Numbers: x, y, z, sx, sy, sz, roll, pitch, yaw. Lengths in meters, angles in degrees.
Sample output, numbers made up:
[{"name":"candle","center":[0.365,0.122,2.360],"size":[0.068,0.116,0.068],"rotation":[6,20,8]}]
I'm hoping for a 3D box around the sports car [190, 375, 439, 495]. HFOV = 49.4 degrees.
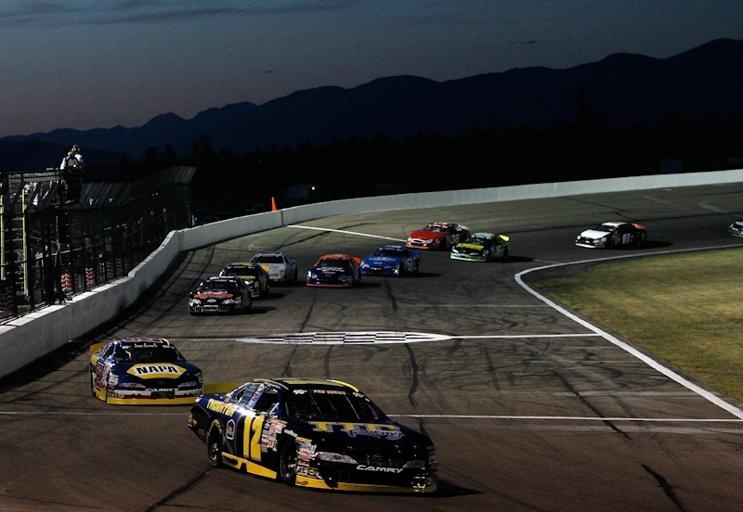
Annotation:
[{"name":"sports car","center":[-0.802,2.790,12.631],"size":[3.455,1.328,1.521],"rotation":[6,10,36]}]
